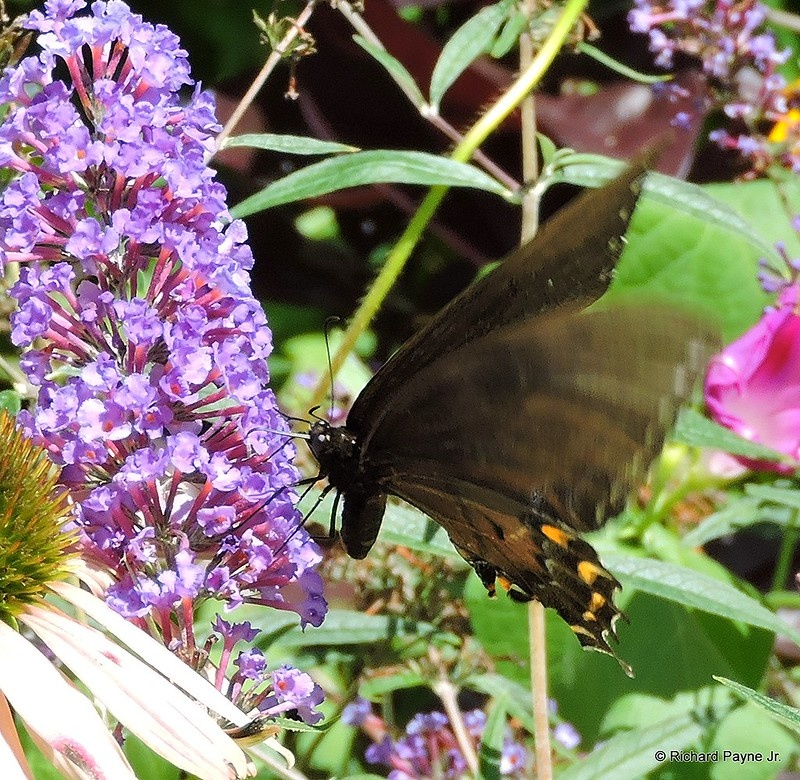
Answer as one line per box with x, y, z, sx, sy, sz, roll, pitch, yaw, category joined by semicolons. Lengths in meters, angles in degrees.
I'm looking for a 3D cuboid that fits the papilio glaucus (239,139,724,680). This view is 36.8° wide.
0.230;0.043;1.526;0.630;0.542;0.690;18;-3;-7;papilio glaucus
